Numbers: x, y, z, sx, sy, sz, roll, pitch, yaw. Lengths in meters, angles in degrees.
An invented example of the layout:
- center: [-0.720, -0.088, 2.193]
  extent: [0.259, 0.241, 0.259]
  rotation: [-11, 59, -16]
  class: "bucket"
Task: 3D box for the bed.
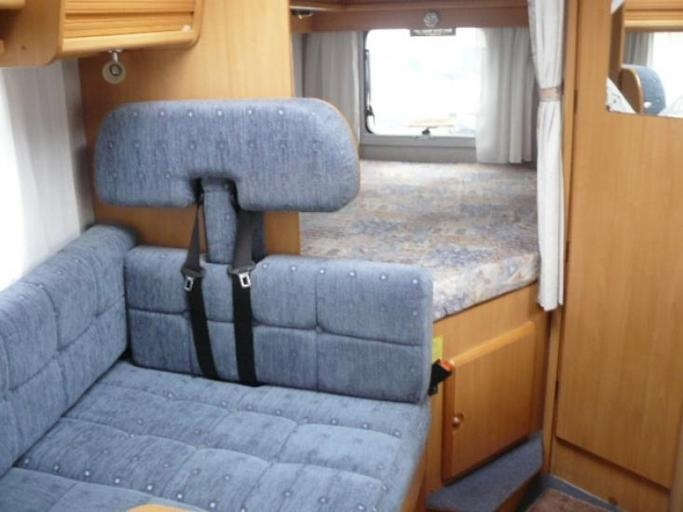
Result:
- center: [0.333, 0.183, 3.139]
  extent: [1.417, 1.003, 2.005]
  rotation: [3, 13, 19]
  class: "bed"
